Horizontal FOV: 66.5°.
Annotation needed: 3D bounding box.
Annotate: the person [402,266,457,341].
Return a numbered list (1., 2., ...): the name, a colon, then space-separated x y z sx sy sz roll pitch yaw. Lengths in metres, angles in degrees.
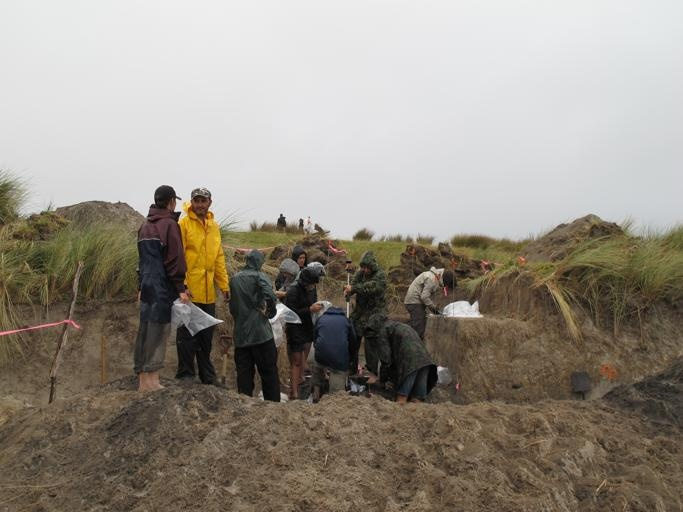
1. person: 1.715 0.941 9.981 0.999 1.647 0.674 -3 24 -14

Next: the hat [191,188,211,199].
1. hat: -1.800 -0.803 6.584 0.251 0.120 0.172 0 -12 2

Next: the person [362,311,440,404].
1. person: 0.895 1.531 8.070 1.127 1.390 0.675 -6 -12 27

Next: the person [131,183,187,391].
1. person: -2.135 0.352 6.131 0.576 2.416 0.468 5 -12 -23
